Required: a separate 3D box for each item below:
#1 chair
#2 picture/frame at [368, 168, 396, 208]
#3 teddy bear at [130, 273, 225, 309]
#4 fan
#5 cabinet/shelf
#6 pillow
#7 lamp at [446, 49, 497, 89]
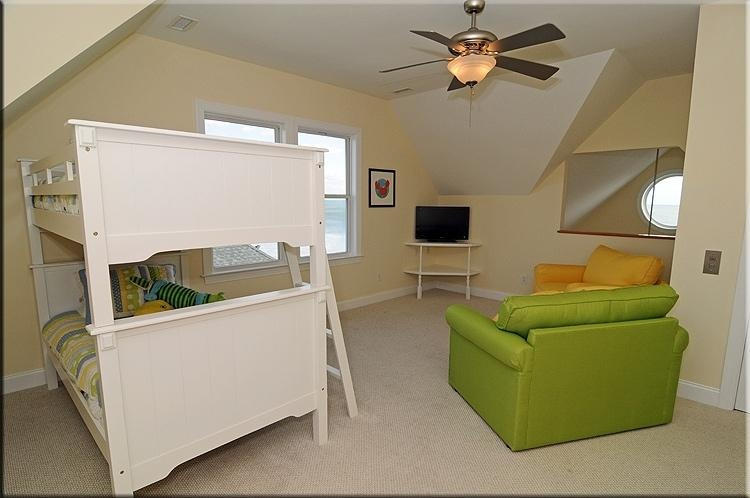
[{"bbox_3d":[1.406,0.882,4.227,1.848,1.121,1.593,-4,12,-11],"label":"chair"},{"bbox_3d":[0.071,-0.827,6.475,0.570,0.541,0.020,-4,6,-44],"label":"picture/frame"},{"bbox_3d":[-1.751,0.366,4.242,0.548,0.171,0.165,12,-10,11],"label":"teddy bear"},{"bbox_3d":[0.861,-1.385,3.926,1.003,0.607,0.929,3,3,12],"label":"fan"},{"bbox_3d":[1.001,0.240,7.073,1.284,0.848,0.773,1,3,18],"label":"cabinet/shelf"},{"bbox_3d":[-1.967,0.310,4.277,0.778,0.235,0.812,-4,27,-20],"label":"pillow"},{"bbox_3d":[0.758,-1.440,3.874,0.349,0.171,0.320,0,-8,-8],"label":"lamp"}]
